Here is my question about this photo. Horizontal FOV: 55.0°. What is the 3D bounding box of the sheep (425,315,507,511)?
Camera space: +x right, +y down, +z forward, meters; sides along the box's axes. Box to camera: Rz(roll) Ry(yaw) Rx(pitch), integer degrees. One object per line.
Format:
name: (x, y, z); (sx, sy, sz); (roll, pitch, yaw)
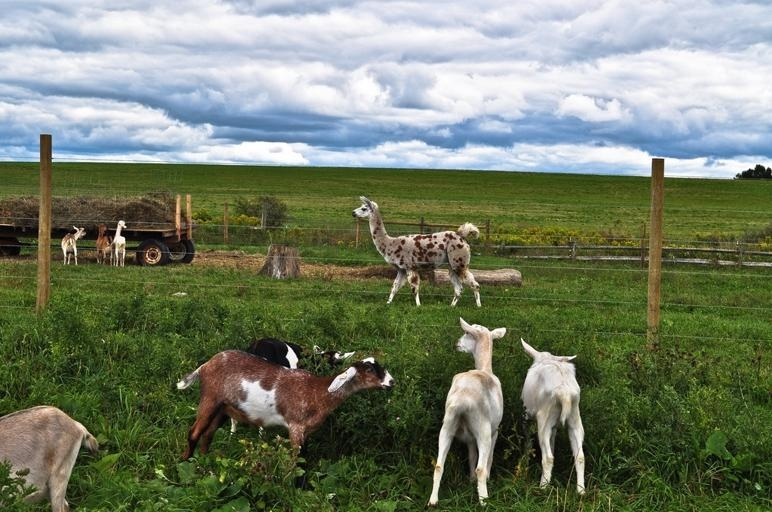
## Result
sheep: (1.193, 2.209, 10.712); (0.931, 2.378, 1.522); (2, 4, 12)

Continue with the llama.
llama: (0.927, -0.163, 19.535); (3.124, 2.644, 1.702); (1, 4, 6)

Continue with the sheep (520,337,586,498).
sheep: (2.394, 2.254, 10.888); (0.998, 1.798, 1.710); (1, -2, -1)
